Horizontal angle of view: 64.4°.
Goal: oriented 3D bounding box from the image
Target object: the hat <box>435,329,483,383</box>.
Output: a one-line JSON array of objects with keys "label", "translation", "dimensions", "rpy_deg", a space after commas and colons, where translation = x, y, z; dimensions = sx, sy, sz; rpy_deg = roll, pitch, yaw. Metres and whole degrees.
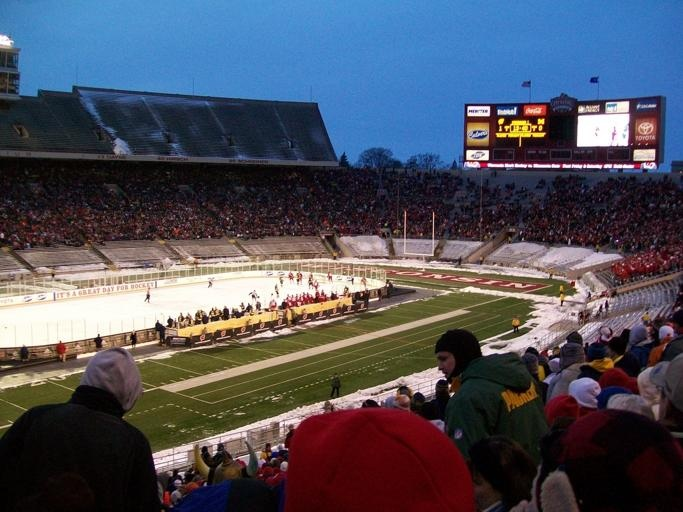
[{"label": "hat", "translation": [0.906, 0.870, 4.833], "dimensions": [0.540, 0.450, 0.372], "rpy_deg": [5, -5, -12]}]
